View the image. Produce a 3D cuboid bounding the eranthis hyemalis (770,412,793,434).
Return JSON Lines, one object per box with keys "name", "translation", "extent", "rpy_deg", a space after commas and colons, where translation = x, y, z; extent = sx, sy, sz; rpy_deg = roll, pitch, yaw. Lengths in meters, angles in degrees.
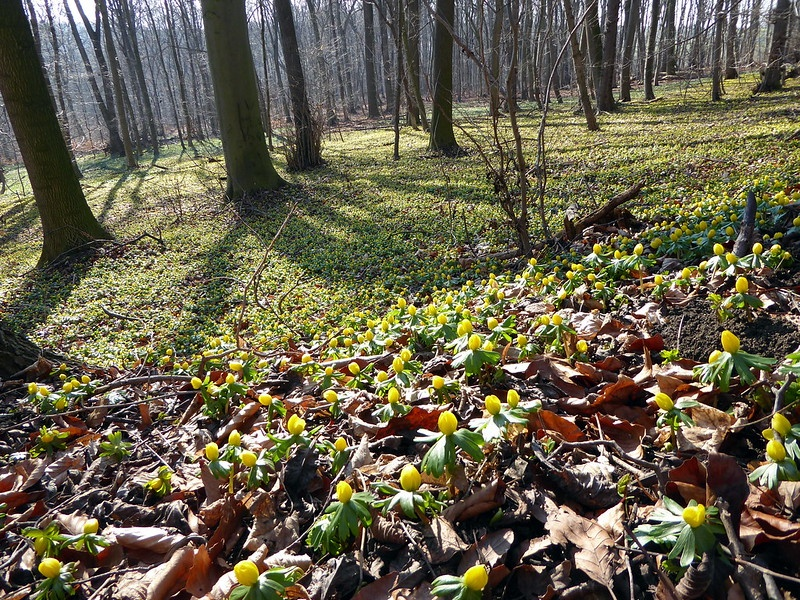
{"name": "eranthis hyemalis", "translation": [1.498, 0.483, 2.101], "extent": [0.048, 0.095, 0.072], "rpy_deg": [-10, 38, 50]}
